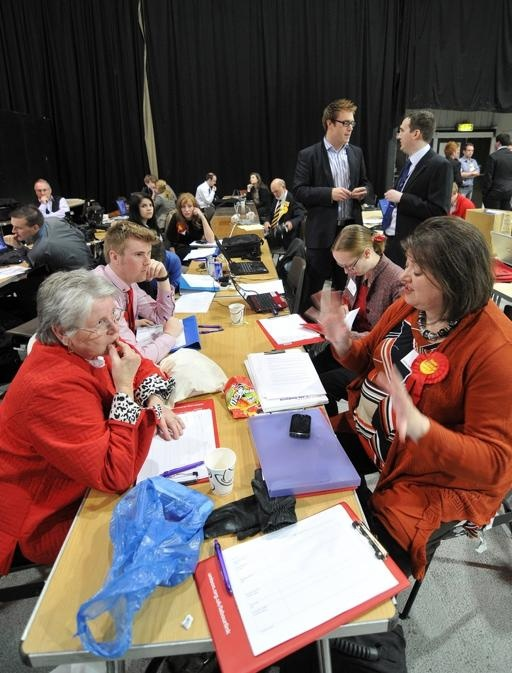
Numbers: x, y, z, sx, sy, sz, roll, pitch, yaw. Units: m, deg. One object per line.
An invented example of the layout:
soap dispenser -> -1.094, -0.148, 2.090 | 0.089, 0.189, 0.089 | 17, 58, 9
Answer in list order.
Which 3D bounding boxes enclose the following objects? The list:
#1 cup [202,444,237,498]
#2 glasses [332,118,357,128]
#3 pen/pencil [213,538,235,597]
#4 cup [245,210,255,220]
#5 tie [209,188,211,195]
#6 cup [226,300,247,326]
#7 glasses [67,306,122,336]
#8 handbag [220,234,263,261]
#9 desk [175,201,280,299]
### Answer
cup -> -0.087, 0.331, 1.159 | 0.107, 0.105, 0.106 | -2, 29, 1
glasses -> 0.625, -1.459, 3.193 | 0.197, 0.075, 0.100 | -26, 34, -38
pen/pencil -> -0.080, 0.472, 0.984 | 0.017, 0.017, 0.157 | -20, 32, -14
cup -> -0.073, -1.384, 5.337 | 0.110, 0.105, 0.189 | -12, 20, 6
tie -> -0.719, -2.279, 7.339 | 0.028, 0.098, 0.074 | 2, 11, -17
cup -> -0.093, -0.113, 2.342 | 0.091, 0.104, 0.111 | 0, 21, 7
glasses -> -0.442, -0.037, 1.242 | 0.093, 0.027, 0.089 | 1, 19, 3
handbag -> -0.105, -0.696, 3.637 | 0.364, 0.114, 0.260 | 1, 28, 1
desk -> -0.251, -0.726, 3.862 | 0.462, 0.544, 1.356 | -17, 30, 12
